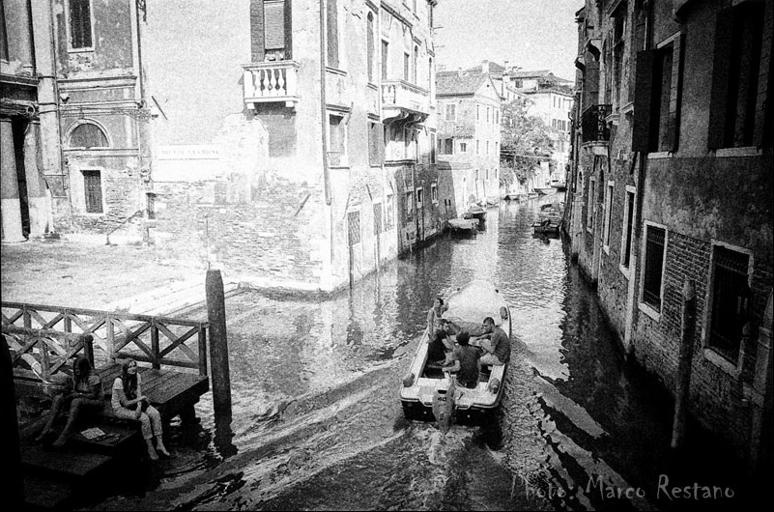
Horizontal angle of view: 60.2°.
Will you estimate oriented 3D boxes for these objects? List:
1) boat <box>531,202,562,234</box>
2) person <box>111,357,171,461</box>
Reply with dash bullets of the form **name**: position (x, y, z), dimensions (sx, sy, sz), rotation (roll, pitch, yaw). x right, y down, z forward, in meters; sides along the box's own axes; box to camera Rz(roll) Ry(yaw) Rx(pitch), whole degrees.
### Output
- **boat**: position (10.132, -2.271, 41.884), dimensions (1.547, 1.254, 5.041), rotation (4, 21, 16)
- **person**: position (-5.226, 3.259, 14.178), dimensions (1.131, 2.021, 0.539), rotation (2, 11, 12)
